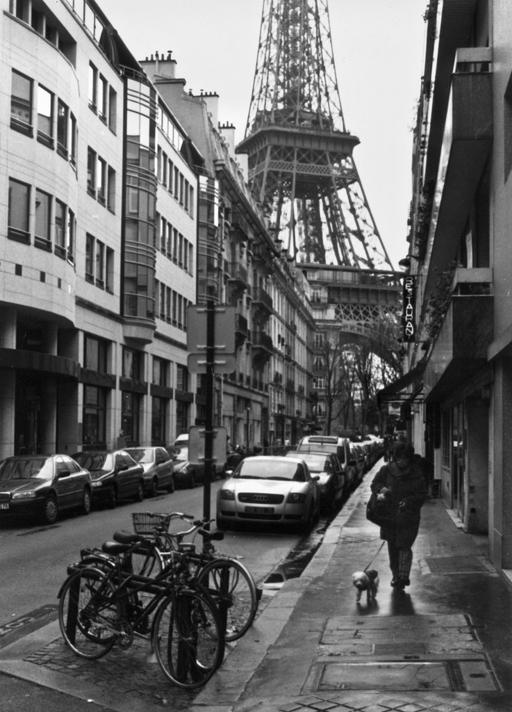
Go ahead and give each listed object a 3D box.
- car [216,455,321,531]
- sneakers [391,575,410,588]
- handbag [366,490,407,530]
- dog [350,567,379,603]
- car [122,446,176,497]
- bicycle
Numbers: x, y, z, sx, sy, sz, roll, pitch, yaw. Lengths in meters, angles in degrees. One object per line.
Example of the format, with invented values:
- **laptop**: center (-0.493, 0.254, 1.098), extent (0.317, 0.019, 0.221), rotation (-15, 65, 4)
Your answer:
- **car**: center (0.228, 2.348, 15.880), extent (1.111, 1.245, 3.116), rotation (0, -9, 7)
- **sneakers**: center (1.321, 2.136, 8.816), extent (0.094, 0.107, 0.237), rotation (4, -13, -38)
- **handbag**: center (1.262, 1.528, 9.152), extent (0.329, 0.508, 0.297), rotation (11, -4, 18)
- **dog**: center (0.973, 2.069, 8.464), extent (0.107, 0.254, 0.419), rotation (-2, -20, 13)
- **car**: center (-2.916, 3.150, 26.207), extent (0.747, 0.930, 1.585), rotation (-3, -9, 9)
- **bicycle**: center (-0.663, 1.571, 6.051), extent (1.014, 0.845, 0.924), rotation (2, -5, 22)
